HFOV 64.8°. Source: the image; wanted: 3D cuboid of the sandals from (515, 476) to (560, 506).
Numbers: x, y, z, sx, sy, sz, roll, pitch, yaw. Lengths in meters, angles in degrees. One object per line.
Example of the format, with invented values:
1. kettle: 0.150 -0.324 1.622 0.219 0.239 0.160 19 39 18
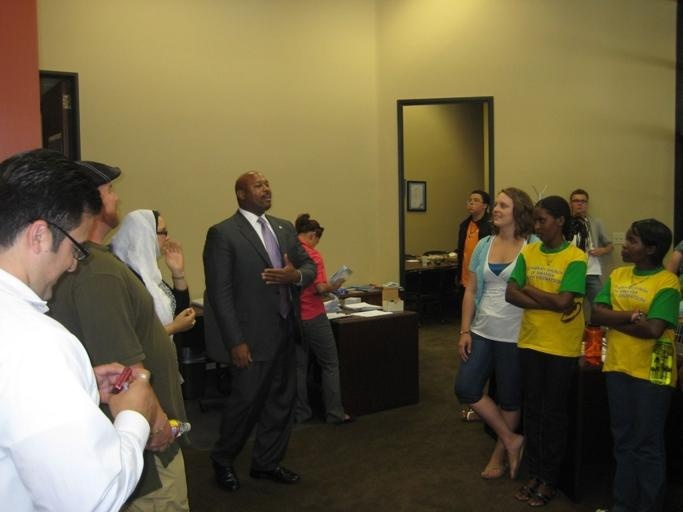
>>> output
1. sandals: 1.091 1.330 3.003 0.182 0.066 0.124 0 -3 -45

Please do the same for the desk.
1. desk: -0.124 0.960 4.786 1.212 0.750 1.231 -6 -8 34

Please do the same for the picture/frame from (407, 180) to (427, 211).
1. picture/frame: 1.345 -1.104 9.731 0.541 0.645 0.048 -2 5 -33

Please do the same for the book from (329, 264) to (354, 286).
1. book: -0.024 0.188 4.528 0.207 0.223 0.121 -7 32 -27

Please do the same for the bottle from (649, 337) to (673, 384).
1. bottle: 1.540 0.507 2.578 0.098 0.209 0.064 2 6 32

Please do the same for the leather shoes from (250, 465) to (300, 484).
1. leather shoes: -0.395 1.327 3.344 0.326 0.136 0.119 0 11 4

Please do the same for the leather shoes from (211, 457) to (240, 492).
1. leather shoes: -0.706 1.305 3.245 0.099 0.103 0.227 -4 10 -38

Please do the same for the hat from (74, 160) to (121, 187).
1. hat: -0.965 -0.339 2.145 0.214 0.085 0.157 -7 25 -27

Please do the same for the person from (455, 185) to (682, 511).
1. person: 1.066 0.482 3.217 0.747 1.774 0.575 3 6 36

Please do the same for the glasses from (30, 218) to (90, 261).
1. glasses: -0.717 -0.035 1.378 0.025 0.089 0.085 -36 4 -18

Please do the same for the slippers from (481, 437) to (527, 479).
1. slippers: 1.046 1.268 3.387 0.145 0.190 0.449 -13 -12 30

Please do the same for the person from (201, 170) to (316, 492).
1. person: -0.490 0.440 3.266 0.655 1.894 0.406 -3 5 -18
